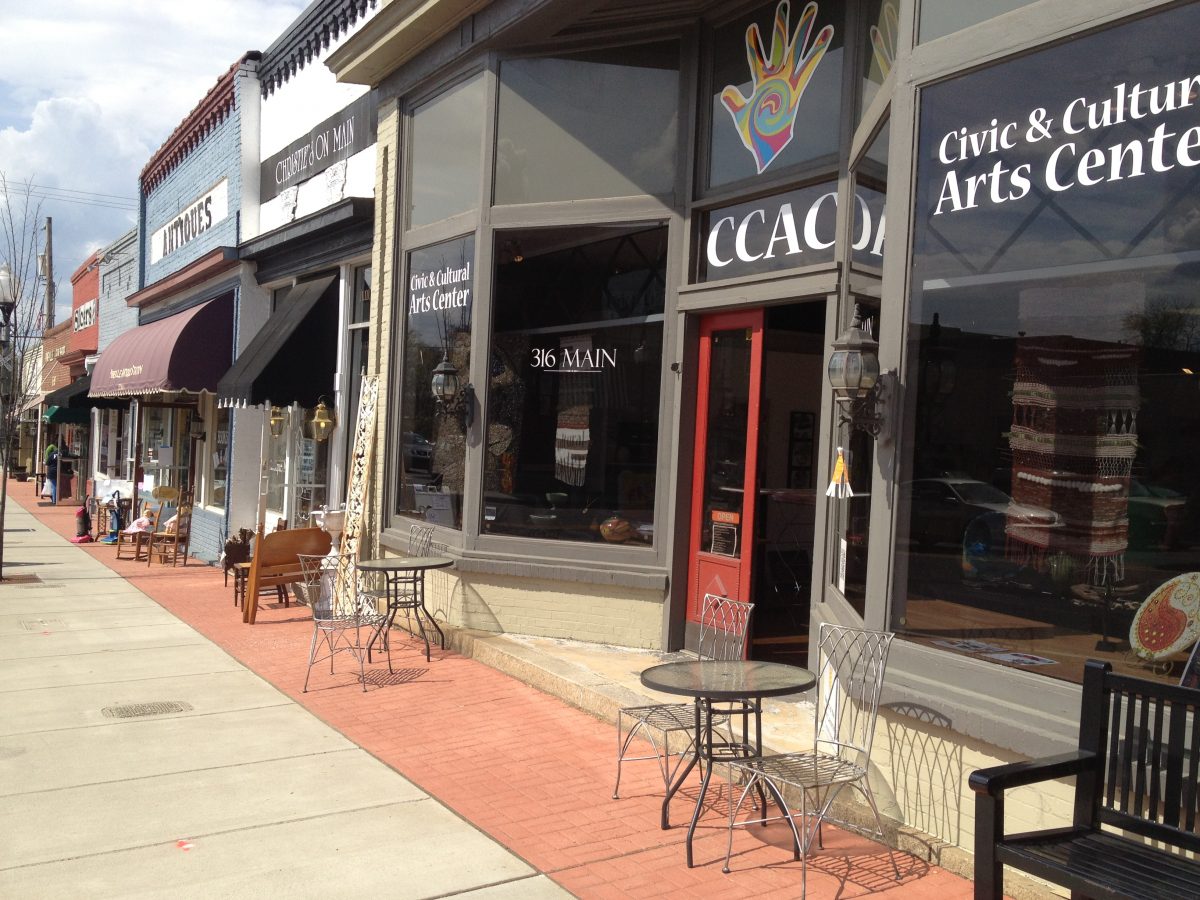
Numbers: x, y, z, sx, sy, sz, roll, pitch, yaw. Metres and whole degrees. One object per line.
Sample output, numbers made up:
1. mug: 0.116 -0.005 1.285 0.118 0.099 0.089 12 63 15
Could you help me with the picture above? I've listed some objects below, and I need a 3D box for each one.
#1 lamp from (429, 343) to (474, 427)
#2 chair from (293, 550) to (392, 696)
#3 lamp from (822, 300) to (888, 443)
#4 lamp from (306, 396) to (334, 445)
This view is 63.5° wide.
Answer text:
1. lamp: -1.569 -0.642 10.127 0.264 0.882 0.703 0 2 -32
2. chair: -2.602 1.800 9.978 0.764 1.316 0.930 5 -5 12
3. lamp: 1.639 -0.474 6.200 0.351 0.773 0.580 1 2 13
4. lamp: -3.778 -0.382 12.940 0.455 0.929 0.475 0 2 -18
